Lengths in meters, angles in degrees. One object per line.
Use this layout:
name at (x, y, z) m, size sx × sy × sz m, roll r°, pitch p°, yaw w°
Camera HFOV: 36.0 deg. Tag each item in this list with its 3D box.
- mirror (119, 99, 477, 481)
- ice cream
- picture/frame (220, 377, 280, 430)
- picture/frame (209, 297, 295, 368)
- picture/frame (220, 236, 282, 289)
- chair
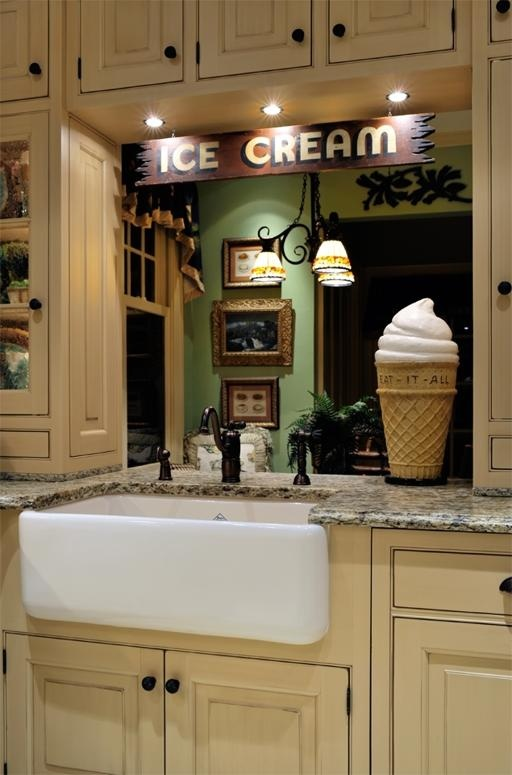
mirror at (0.134, -0.511, 4.482) m, size 1.870 × 1.938 × 0.090 m, roll -9°, pitch 36°, yaw -23°
ice cream at (0.424, 0.026, 2.081) m, size 0.201 × 0.461 × 0.131 m, roll -2°, pitch 0°, yaw 10°
picture/frame at (-0.018, 0.088, 4.242) m, size 0.274 × 0.266 × 0.022 m, roll 0°, pitch -4°, yaw 20°
picture/frame at (-0.001, -0.303, 4.333) m, size 0.373 × 0.299 × 0.020 m, roll 1°, pitch 1°, yaw 24°
picture/frame at (-0.018, -0.635, 4.038) m, size 0.343 × 0.313 × 0.037 m, roll 1°, pitch 3°, yaw 9°
chair at (-0.142, 0.339, 4.151) m, size 0.335 × 0.161 × 0.357 m, roll 11°, pitch -36°, yaw -1°
